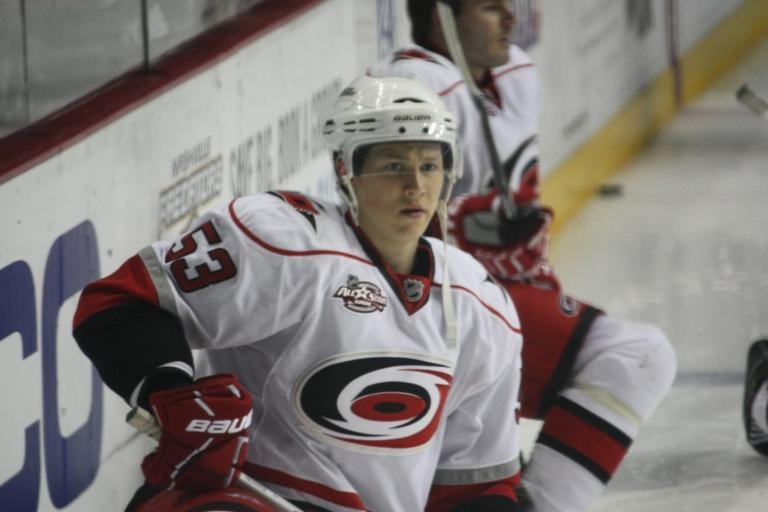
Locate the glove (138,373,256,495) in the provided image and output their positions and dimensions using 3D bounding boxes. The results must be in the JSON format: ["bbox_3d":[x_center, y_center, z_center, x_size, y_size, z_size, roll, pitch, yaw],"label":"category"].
[{"bbox_3d":[-0.504,0.476,3.952,0.263,0.271,0.185,-17,39,-38],"label":"glove"}]

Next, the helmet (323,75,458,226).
[{"bbox_3d":[0.005,-0.348,4.243,0.340,0.348,0.390,1,4,-20],"label":"helmet"}]
